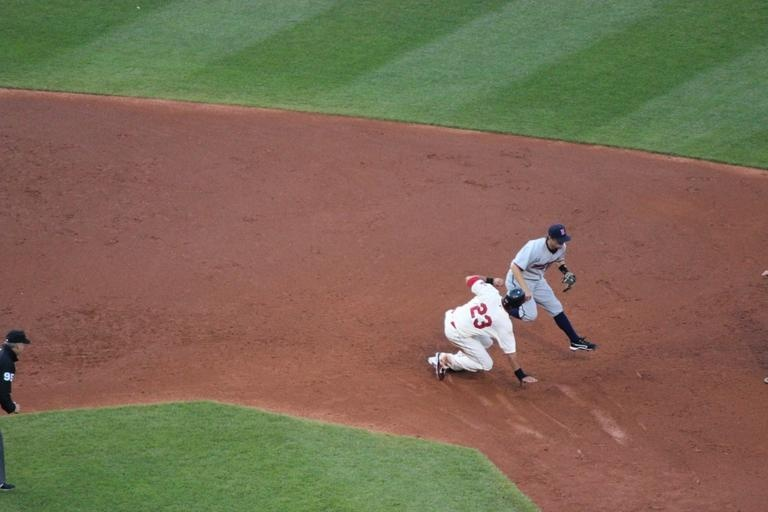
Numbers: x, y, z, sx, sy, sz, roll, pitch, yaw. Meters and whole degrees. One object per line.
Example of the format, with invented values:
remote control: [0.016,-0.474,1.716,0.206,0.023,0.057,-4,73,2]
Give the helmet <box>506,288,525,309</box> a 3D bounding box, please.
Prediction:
helmet: [2.457,0.812,24.579,0.387,0.271,0.379,-11,-19,23]

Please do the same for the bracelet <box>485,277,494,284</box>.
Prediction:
bracelet: [2.006,0.465,24.896,0.153,0.113,0.334,2,10,2]

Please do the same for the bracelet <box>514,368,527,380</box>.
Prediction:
bracelet: [2.601,2.246,24.970,0.230,0.170,0.238,7,-8,0]

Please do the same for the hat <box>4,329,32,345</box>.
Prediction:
hat: [-6.673,1.507,24.107,0.472,0.226,0.313,-1,14,-29]

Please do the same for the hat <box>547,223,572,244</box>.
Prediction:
hat: [3.303,-0.450,25.063,0.505,0.263,0.362,32,46,32]

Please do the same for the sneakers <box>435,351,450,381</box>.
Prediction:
sneakers: [1.133,2.106,25.222,0.231,0.537,0.237,-4,22,2]
